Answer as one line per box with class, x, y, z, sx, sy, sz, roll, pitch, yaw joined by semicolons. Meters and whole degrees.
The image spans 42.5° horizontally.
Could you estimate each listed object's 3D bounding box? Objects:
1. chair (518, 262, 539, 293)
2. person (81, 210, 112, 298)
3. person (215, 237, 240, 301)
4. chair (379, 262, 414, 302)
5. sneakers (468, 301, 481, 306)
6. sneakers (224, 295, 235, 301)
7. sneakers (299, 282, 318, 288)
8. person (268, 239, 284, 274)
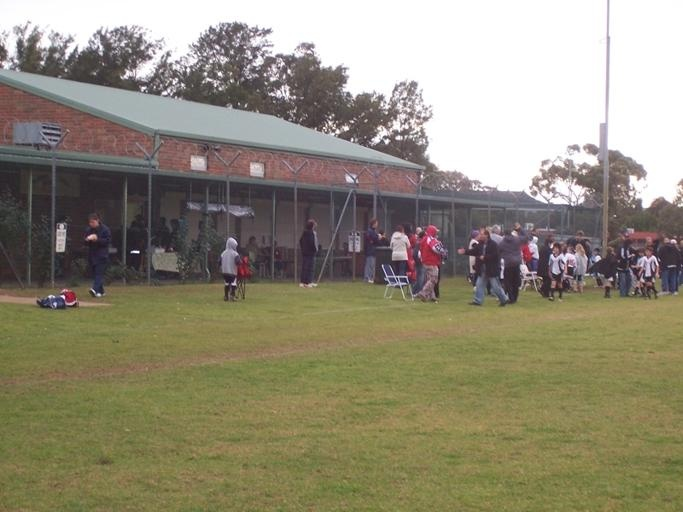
chair;5.825;0.686;27.269;0.837;1.214;0.930;0;2;15
person;-5.646;-0.003;20.252;0.557;1.936;1.145;0;6;-17
person;-2.700;0.297;21.302;0.428;1.524;0.938;1;6;-8
chair;1.492;0.694;24.120;0.912;1.213;0.779;-1;4;0
sneakers;3.234;1.155;21.349;0.267;0.124;0.097;10;5;38
sneakers;-2.677;1.015;21.126;0.131;0.112;0.315;0;0;32
sneakers;-0.998;0.849;26.101;0.495;0.233;0.189;-1;0;6
person;-2.272;0.128;29.860;0.535;1.199;0.412;-3;32;5
